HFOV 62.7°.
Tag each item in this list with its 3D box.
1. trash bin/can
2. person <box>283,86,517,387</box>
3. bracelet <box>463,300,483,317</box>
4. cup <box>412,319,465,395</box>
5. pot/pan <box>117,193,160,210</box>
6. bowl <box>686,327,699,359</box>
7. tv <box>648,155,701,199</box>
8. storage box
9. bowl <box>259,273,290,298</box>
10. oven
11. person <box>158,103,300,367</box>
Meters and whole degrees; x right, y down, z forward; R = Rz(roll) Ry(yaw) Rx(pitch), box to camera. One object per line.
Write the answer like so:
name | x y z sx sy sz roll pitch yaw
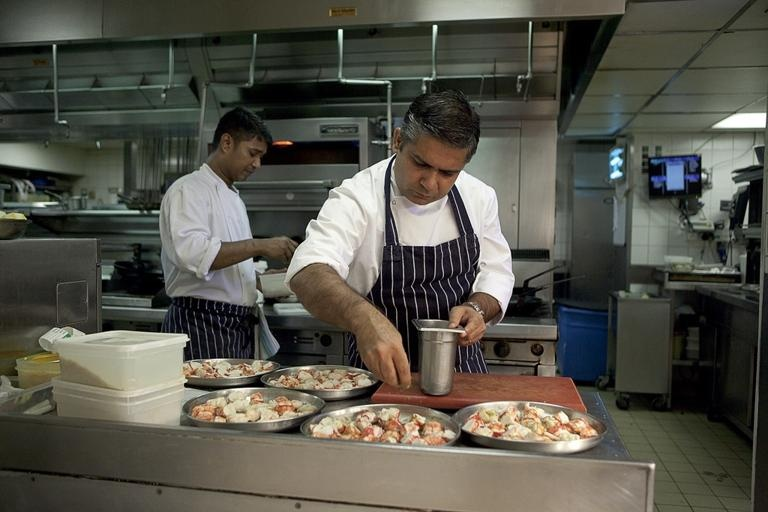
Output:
trash bin/can | 2.086 0.934 6.697 0.533 0.830 0.673 1 2 15
person | 0.121 -0.095 3.106 0.743 1.348 0.981 2 2 34
bracelet | 0.435 0.256 3.030 0.095 0.074 0.117 1 1 11
cup | 0.228 0.456 2.879 0.295 0.391 0.308 1 0 0
pot/pan | -2.145 -0.481 5.523 0.363 0.123 0.266 -2 -2 21
bowl | 2.878 0.811 5.901 0.114 0.301 0.099 2 2 35
tv | 2.953 -0.802 6.360 0.458 0.381 0.062 -1 2 26
storage box | -1.150 0.531 2.715 0.552 0.383 0.167 1 2 7
bowl | -0.733 0.191 4.225 0.246 0.148 0.244 -2 1 0
oven | -0.632 -0.811 5.052 1.286 0.808 0.812 5 38 29
person | -0.993 -0.135 3.942 0.752 1.575 0.432 0 2 -20
